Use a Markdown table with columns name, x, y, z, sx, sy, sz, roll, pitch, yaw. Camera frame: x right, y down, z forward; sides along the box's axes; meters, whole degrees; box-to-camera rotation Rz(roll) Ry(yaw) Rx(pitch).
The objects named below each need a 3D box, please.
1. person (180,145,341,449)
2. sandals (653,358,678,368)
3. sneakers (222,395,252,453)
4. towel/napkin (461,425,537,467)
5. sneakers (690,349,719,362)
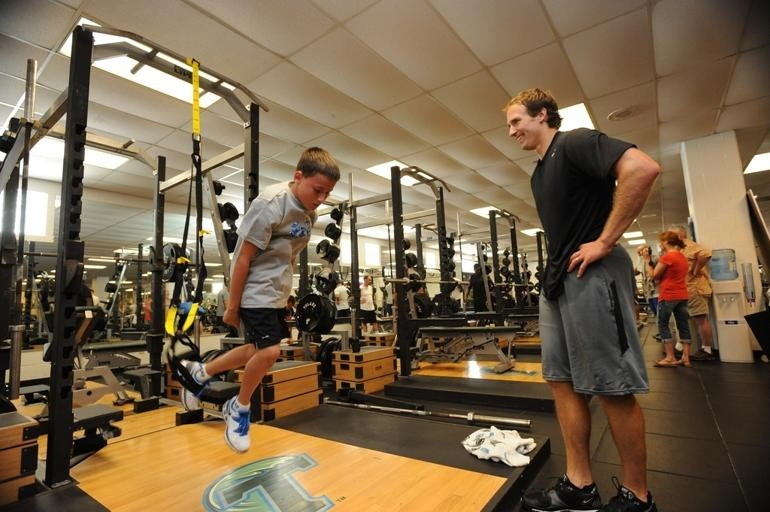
| name | x | y | z | sx | sy | sz | roll | pitch | yaw |
| --- | --- | --- | --- | --- | --- | --- | --- | --- | --- |
| person | -0.914 | 0.317 | 3.568 | 1.237 | 2.248 | 0.497 | -7 | -9 | 24 |
| sandals | 3.571 | 1.326 | 5.860 | 0.333 | 0.123 | 0.112 | 0 | -6 | 42 |
| sneakers | -1.128 | 1.256 | 3.497 | 0.201 | 0.417 | 0.169 | -25 | -18 | 33 |
| towel/napkin | 0.845 | 1.402 | 3.460 | 0.310 | 0.080 | 0.259 | -5 | 4 | 35 |
| sneakers | 4.361 | 1.326 | 6.214 | 0.426 | 0.189 | 0.169 | -1 | -3 | 27 |
